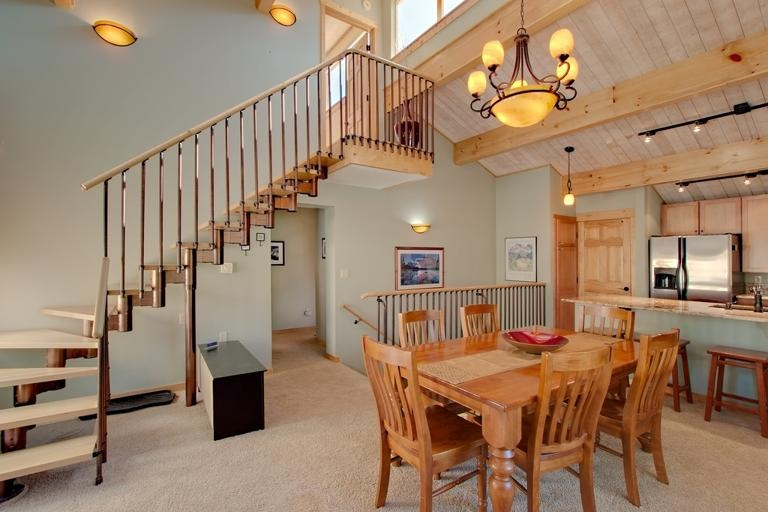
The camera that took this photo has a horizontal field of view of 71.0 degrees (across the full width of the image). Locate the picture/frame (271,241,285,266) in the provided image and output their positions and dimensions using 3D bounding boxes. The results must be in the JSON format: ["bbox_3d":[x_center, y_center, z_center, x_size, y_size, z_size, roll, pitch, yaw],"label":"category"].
[{"bbox_3d":[-1.945,-0.060,9.720,0.045,0.522,0.464,-1,-2,42],"label":"picture/frame"}]

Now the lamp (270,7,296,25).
[{"bbox_3d":[-1.388,-3.355,7.469,0.403,0.168,0.296,0,-5,-23],"label":"lamp"}]

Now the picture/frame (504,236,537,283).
[{"bbox_3d":[2.409,0.045,9.425,0.047,0.993,0.806,5,-5,-36],"label":"picture/frame"}]

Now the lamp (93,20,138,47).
[{"bbox_3d":[-3.284,-2.744,6.552,0.498,0.240,0.275,0,-5,-26],"label":"lamp"}]
